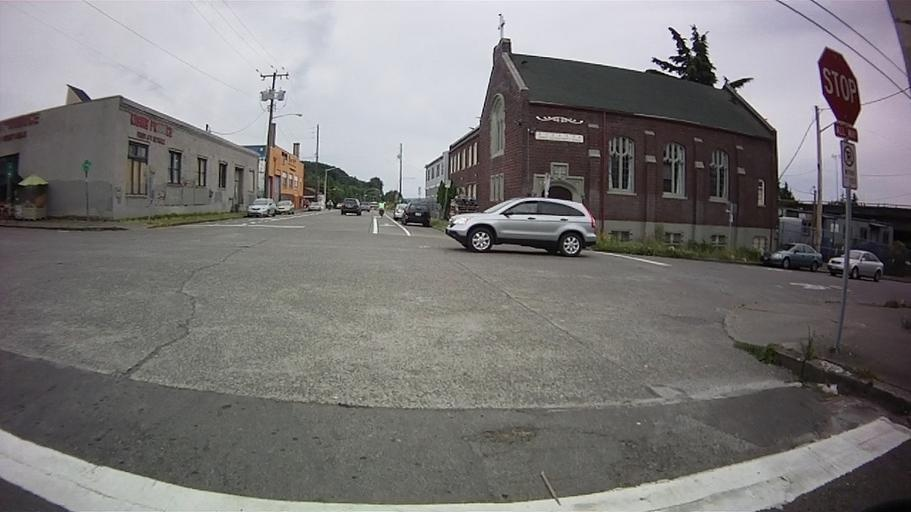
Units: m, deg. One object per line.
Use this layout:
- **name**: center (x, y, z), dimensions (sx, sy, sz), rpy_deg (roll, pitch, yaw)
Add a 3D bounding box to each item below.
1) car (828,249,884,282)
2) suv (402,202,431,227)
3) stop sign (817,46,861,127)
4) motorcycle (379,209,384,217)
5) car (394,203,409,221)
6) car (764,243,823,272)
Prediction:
- **car**: center (19.842, 0.441, 27.940), dimensions (3.658, 1.330, 1.549), rpy_deg (4, -4, -28)
- **suv**: center (-2.777, -3.151, 40.824), dimensions (1.257, 1.141, 2.356), rpy_deg (1, 11, -5)
- **stop sign**: center (6.883, -3.043, 10.095), dimensions (1.188, 1.245, 0.359), rpy_deg (-3, 10, -34)
- **motorcycle**: center (-7.304, -4.431, 55.381), dimensions (0.642, 0.724, 1.113), rpy_deg (0, 0, -9)
- **car**: center (-5.342, -4.299, 53.807), dimensions (1.522, 1.259, 3.394), rpy_deg (0, 9, -3)
- **car**: center (17.101, -0.050, 28.916), dimensions (3.549, 1.289, 1.498), rpy_deg (5, -4, -27)
